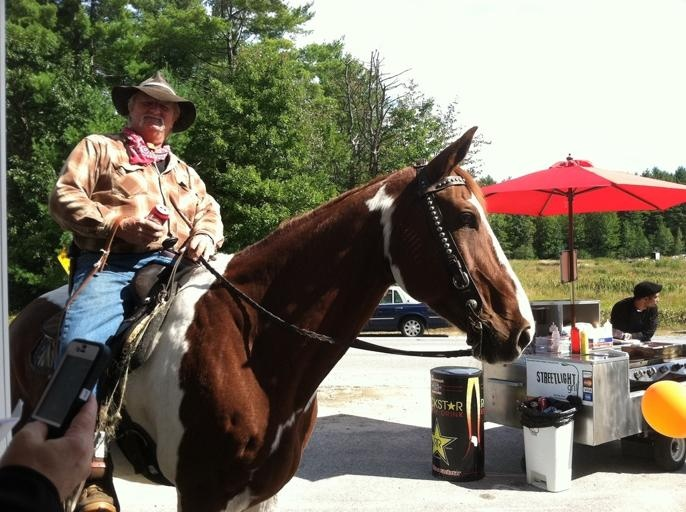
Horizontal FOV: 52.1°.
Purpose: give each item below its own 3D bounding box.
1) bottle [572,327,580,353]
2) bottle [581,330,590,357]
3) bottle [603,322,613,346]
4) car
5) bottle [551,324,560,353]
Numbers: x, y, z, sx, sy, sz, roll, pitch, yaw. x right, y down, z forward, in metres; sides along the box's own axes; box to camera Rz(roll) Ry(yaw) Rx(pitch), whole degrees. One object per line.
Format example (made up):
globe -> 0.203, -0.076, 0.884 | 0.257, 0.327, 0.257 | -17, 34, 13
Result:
bottle -> 2.882, 1.082, 8.698 | 0.111, 0.287, 0.172 | 0, 2, 19
bottle -> 2.981, 1.087, 8.681 | 0.102, 0.269, 0.215 | 0, 2, 18
bottle -> 3.452, 1.048, 9.247 | 0.156, 0.295, 0.609 | 0, 2, 24
car -> 1.853, 1.760, 21.691 | 3.370, 1.186, 1.393 | 3, -5, -4
bottle -> 2.618, 1.035, 8.675 | 0.095, 0.325, 0.209 | 0, 2, 17
